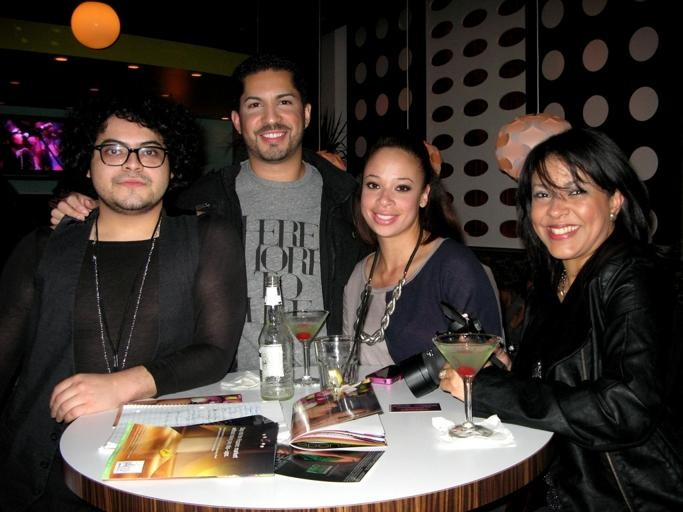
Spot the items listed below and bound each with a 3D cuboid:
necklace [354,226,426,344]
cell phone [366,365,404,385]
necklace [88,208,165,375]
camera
[{"bbox_3d":[0.234,0.145,2.535,0.264,0.066,0.778,3,49,29],"label":"necklace"},{"bbox_3d":[0.191,0.534,2.141,0.120,0.027,0.117,-8,2,-26],"label":"cell phone"},{"bbox_3d":[-1.028,0.170,2.270,0.237,0.019,0.740,2,52,-11],"label":"necklace"},{"bbox_3d":[0.450,0.402,1.978,0.353,0.275,0.483,-30,-21,30],"label":"camera"}]
